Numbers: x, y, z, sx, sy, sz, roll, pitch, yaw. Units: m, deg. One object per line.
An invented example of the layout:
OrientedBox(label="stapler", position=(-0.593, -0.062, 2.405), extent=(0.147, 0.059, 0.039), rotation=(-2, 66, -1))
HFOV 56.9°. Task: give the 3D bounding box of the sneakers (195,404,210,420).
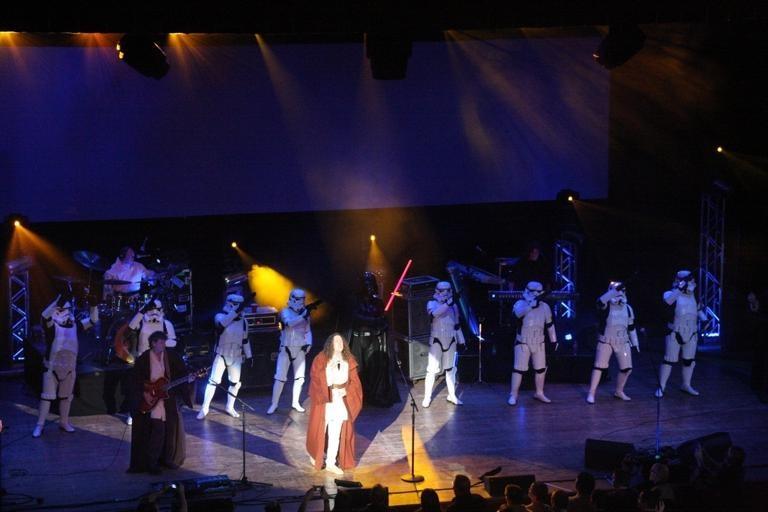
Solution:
OrientedBox(label="sneakers", position=(-3.754, 3.192, 14.505), extent=(0.185, 0.209, 0.324), rotation=(4, 14, 15))

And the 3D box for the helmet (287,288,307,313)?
OrientedBox(label="helmet", position=(-1.796, 0.912, 14.955), extent=(0.474, 0.453, 0.372), rotation=(-1, -1, 44))

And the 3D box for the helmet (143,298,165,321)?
OrientedBox(label="helmet", position=(-4.539, 1.050, 13.895), extent=(0.368, 0.400, 0.219), rotation=(-12, 18, -39))

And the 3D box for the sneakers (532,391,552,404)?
OrientedBox(label="sneakers", position=(3.373, 3.019, 15.220), extent=(0.408, 0.244, 0.138), rotation=(10, 20, 33))

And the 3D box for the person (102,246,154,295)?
OrientedBox(label="person", position=(-5.860, 0.365, 16.190), extent=(1.158, 1.225, 0.737), rotation=(3, -10, -39))

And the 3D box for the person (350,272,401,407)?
OrientedBox(label="person", position=(-0.243, 1.812, 15.168), extent=(0.880, 2.664, 1.173), rotation=(-8, 16, -24))

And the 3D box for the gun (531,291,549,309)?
OrientedBox(label="gun", position=(3.223, 0.914, 14.999), extent=(0.291, 0.166, 0.350), rotation=(4, 43, 2))

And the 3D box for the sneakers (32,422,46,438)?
OrientedBox(label="sneakers", position=(-6.732, 3.357, 13.777), extent=(0.152, 0.140, 0.334), rotation=(1, 11, -2))

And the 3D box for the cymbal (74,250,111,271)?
OrientedBox(label="cymbal", position=(-6.437, 0.103, 15.503), extent=(0.701, 0.444, 0.391), rotation=(0, 14, 4))

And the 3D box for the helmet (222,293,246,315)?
OrientedBox(label="helmet", position=(-3.075, 0.986, 14.610), extent=(0.461, 0.387, 0.360), rotation=(-7, -3, 18))

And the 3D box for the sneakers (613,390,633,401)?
OrientedBox(label="sneakers", position=(5.157, 3.018, 15.316), extent=(0.136, 0.148, 0.367), rotation=(-7, 9, -35))

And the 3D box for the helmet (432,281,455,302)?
OrientedBox(label="helmet", position=(1.259, 0.752, 15.060), extent=(0.362, 0.416, 0.455), rotation=(0, -11, 7))

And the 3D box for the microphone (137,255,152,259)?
OrientedBox(label="microphone", position=(-5.760, 0.009, 16.927), extent=(0.102, 0.074, 0.253), rotation=(-4, -2, 21))

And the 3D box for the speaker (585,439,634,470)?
OrientedBox(label="speaker", position=(4.016, 3.540, 12.663), extent=(0.884, 0.551, 0.910), rotation=(-14, -12, 42))

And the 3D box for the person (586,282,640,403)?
OrientedBox(label="person", position=(4.929, 1.789, 15.255), extent=(1.057, 2.527, 1.056), rotation=(1, 15, 8))

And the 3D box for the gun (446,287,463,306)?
OrientedBox(label="gun", position=(1.467, 0.822, 15.184), extent=(0.206, 0.339, 0.491), rotation=(-26, 25, 16))

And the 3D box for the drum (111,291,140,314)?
OrientedBox(label="drum", position=(-5.653, 0.980, 15.396), extent=(0.492, 0.193, 0.555), rotation=(9, 7, 12))

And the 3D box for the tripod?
OrientedBox(label="tripod", position=(-2.975, 3.381, 13.487), extent=(1.909, 2.860, 1.640), rotation=(4, -9, -16))

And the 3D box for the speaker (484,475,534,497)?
OrientedBox(label="speaker", position=(1.949, 3.612, 11.296), extent=(0.641, 0.251, 0.460), rotation=(-2, 0, -13))

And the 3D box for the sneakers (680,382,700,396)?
OrientedBox(label="sneakers", position=(6.666, 2.910, 15.506), extent=(0.428, 0.275, 0.165), rotation=(11, 14, 19))

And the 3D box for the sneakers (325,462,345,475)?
OrientedBox(label="sneakers", position=(-0.879, 3.764, 12.553), extent=(0.365, 0.148, 0.143), rotation=(9, 26, 19))

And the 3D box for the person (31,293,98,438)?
OrientedBox(label="person", position=(-6.284, 2.107, 13.852), extent=(0.687, 2.639, 1.388), rotation=(5, 16, 22))

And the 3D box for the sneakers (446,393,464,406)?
OrientedBox(label="sneakers", position=(1.532, 3.050, 15.223), extent=(0.425, 0.276, 0.149), rotation=(9, 21, 19))

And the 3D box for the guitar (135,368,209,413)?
OrientedBox(label="guitar", position=(-3.891, 2.421, 12.823), extent=(1.295, 0.484, 0.208), rotation=(-20, -19, -18))

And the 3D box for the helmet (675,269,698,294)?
OrientedBox(label="helmet", position=(6.516, 0.571, 15.558), extent=(0.572, 0.547, 0.457), rotation=(-5, -8, 40))

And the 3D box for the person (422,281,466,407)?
OrientedBox(label="person", position=(1.246, 1.853, 15.179), extent=(0.890, 2.618, 0.954), rotation=(-1, 15, 1))

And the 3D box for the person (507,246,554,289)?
OrientedBox(label="person", position=(3.527, 0.307, 17.006), extent=(1.006, 0.901, 0.514), rotation=(3, 15, 2))

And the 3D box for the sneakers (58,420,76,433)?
OrientedBox(label="sneakers", position=(-6.285, 3.367, 14.030), extent=(0.364, 0.143, 0.180), rotation=(5, 5, 31))

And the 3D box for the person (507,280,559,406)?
OrientedBox(label="person", position=(3.151, 1.828, 15.099), extent=(1.049, 2.521, 0.871), rotation=(-2, 15, -3))

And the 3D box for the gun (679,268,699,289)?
OrientedBox(label="gun", position=(6.537, 0.527, 15.477), extent=(0.386, 0.442, 0.462), rotation=(4, -5, -45))

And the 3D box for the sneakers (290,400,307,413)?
OrientedBox(label="sneakers", position=(-1.746, 3.171, 14.961), extent=(0.378, 0.241, 0.143), rotation=(16, 5, 17))
